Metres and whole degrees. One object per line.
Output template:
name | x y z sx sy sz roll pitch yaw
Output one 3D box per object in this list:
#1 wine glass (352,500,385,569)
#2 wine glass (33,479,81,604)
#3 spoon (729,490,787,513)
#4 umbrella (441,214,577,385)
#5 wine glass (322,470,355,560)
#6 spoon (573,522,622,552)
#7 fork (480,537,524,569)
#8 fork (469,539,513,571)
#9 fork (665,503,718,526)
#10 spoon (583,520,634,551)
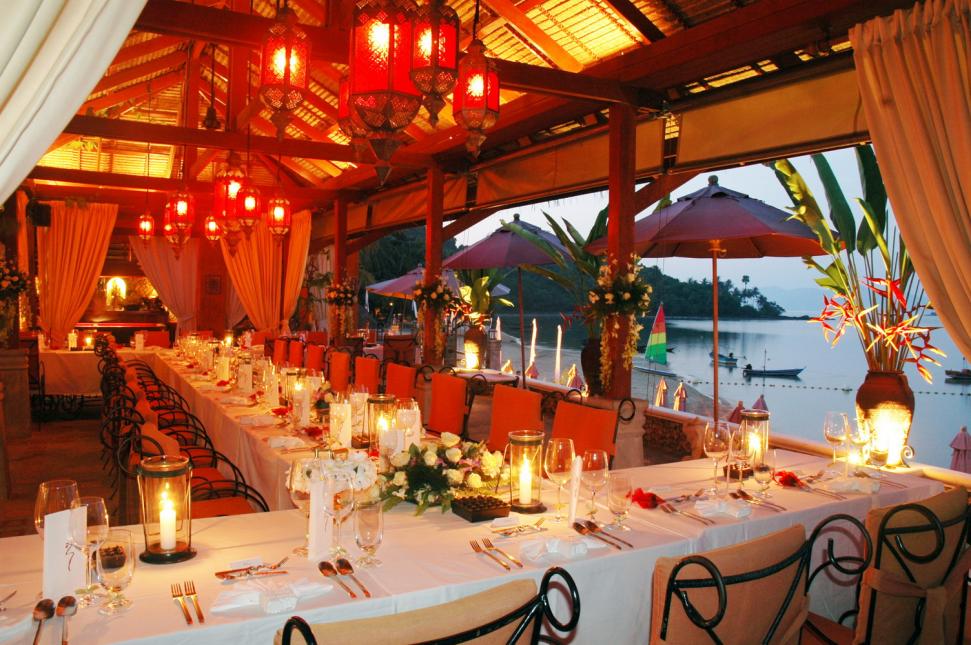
wine glass | -0.518 0.916 3.233 0.114 0.297 0.235 -3 7 -12
wine glass | -1.746 0.876 3.000 0.177 0.449 0.244 -6 9 -33
spoon | 1.441 0.949 3.921 0.083 0.059 0.388 -5 7 -24
umbrella | 0.255 -0.499 10.259 1.809 2.216 1.786 0 8 17
wine glass | -0.663 0.846 3.336 0.109 0.386 0.263 -2 7 -12
spoon | 0.524 1.020 3.477 0.071 0.051 0.393 -20 7 -14
fork | 0.046 1.028 3.362 0.062 0.062 0.420 -6 6 -28
fork | 0.013 1.055 3.315 0.065 0.058 0.379 -10 10 -25
fork | 1.049 0.981 3.707 0.049 0.052 0.342 -5 6 -31
spoon | 0.575 1.011 3.493 0.075 0.035 0.247 -10 8 -23
